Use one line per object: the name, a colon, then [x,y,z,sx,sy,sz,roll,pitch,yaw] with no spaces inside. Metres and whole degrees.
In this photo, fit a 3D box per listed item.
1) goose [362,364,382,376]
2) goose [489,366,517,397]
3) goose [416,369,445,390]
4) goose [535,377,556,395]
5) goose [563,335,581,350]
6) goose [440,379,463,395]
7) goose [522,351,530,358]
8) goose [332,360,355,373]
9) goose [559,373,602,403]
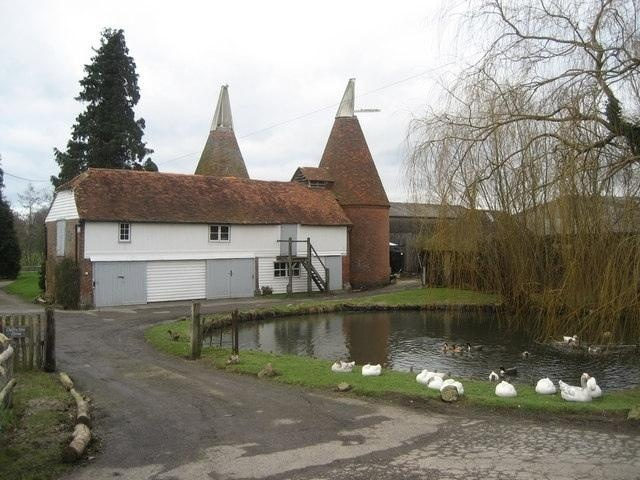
goose: [1.281,3.317,14.164,0.387,0.271,0.294,-2,-5,19]
goose: [4.551,3.544,13.898,0.489,0.426,0.978,-5,12,5]
goose: [2.510,3.233,12.888,0.331,0.242,0.464,0,-4,27]
goose: [4.942,3.201,12.220,0.355,0.294,0.348,-1,1,-37]
goose: [9.082,3.657,20.230,0.566,0.449,1.274,1,-1,24]
goose: [2.938,3.208,12.214,0.291,0.161,0.409,5,-1,24]
goose: [6.782,3.794,18.451,0.206,0.082,0.205,-3,2,-4]
goose: [0.561,3.306,14.531,0.550,0.168,0.629,1,-1,14]
goose: [5.341,3.098,11.603,0.564,0.545,0.774,1,-3,-40]
